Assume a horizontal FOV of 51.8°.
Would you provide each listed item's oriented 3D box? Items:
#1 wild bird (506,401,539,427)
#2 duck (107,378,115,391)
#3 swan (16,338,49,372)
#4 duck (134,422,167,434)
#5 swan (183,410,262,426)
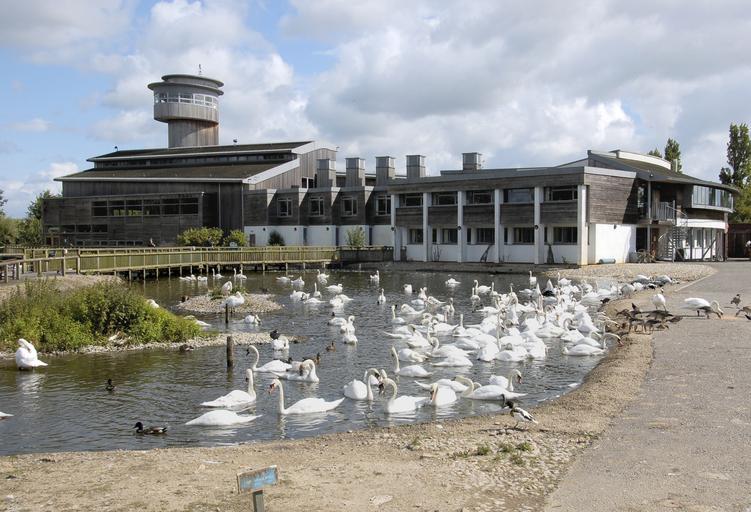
[{"bbox_3d":[4.631,5.084,24.677,0.478,0.813,1.324,-20,-5,-23],"label":"wild bird"},{"bbox_3d":[-9.916,4.866,29.113,0.274,0.355,0.524,2,-2,-10],"label":"duck"},{"bbox_3d":[-14.137,4.069,31.653,1.713,1.199,0.815,15,13,32],"label":"swan"},{"bbox_3d":[-7.283,5.628,25.153,1.104,0.362,0.599,0,-3,-4],"label":"duck"},{"bbox_3d":[-5.100,5.437,25.876,2.313,0.526,0.764,0,3,-13],"label":"swan"}]
